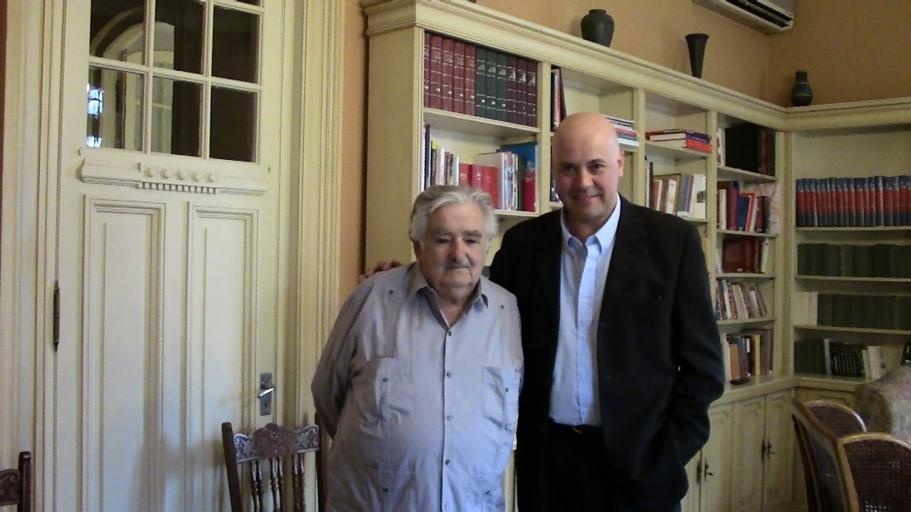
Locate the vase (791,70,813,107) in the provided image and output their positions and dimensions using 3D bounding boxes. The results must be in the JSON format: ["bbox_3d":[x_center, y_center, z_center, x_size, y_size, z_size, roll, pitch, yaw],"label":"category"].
[{"bbox_3d":[3.367,-1.622,7.328,0.222,0.314,0.224,-7,11,-24],"label":"vase"}]
